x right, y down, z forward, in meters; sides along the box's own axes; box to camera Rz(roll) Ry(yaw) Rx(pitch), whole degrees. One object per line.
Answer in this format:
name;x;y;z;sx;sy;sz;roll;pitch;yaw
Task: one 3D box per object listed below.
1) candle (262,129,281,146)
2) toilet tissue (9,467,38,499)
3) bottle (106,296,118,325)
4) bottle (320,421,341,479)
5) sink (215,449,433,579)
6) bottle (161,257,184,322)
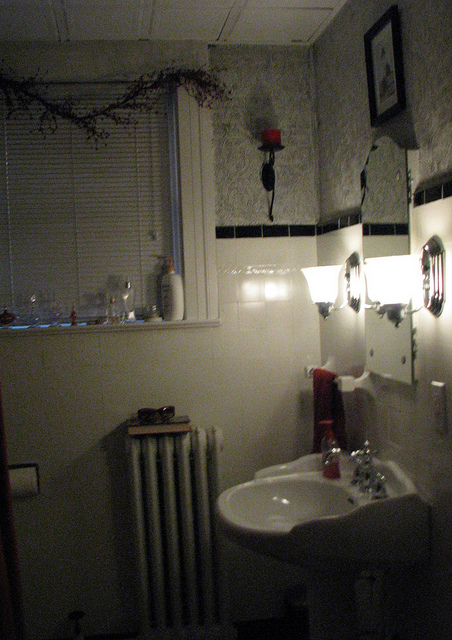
candle;0.167;-0.674;1.892;0.049;0.051;0.058;2;5;9
toilet tissue;-0.739;0.594;1.880;0.091;0.089;0.063;-11;-2;-28
bottle;-0.440;-0.039;1.962;0.044;0.088;0.040;-10;-3;0
bottle;0.339;0.428;1.647;0.072;0.168;0.077;-3;-27;-1
sink;0.244;0.589;1.545;0.527;0.321;0.686;-2;-5;5
bottle;-0.205;-0.118;1.939;0.082;0.219;0.090;-9;-3;6
